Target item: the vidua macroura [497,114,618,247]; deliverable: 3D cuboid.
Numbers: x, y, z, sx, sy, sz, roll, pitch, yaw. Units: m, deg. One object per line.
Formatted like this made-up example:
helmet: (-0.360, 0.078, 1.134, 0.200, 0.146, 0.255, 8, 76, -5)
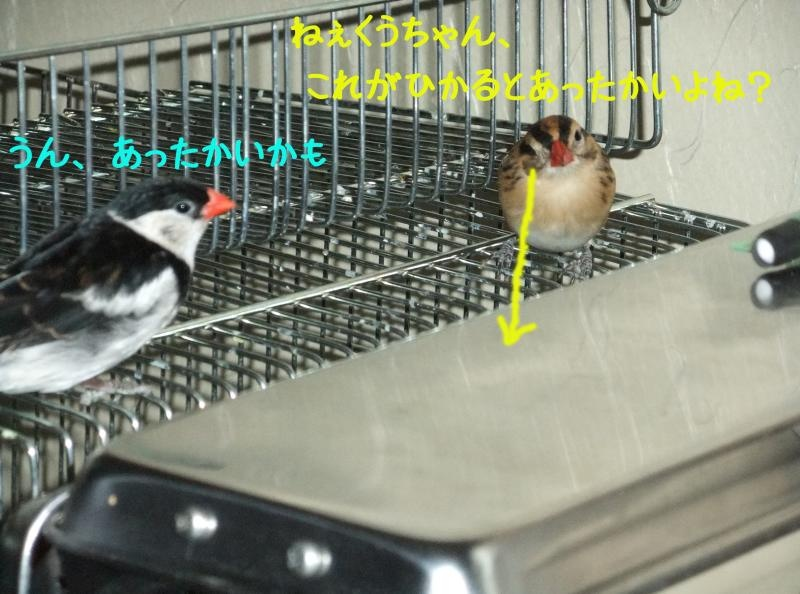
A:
vidua macroura: (0.118, -0.085, 0.713, 0.078, 0.102, 0.118, 0, 16, 1)
